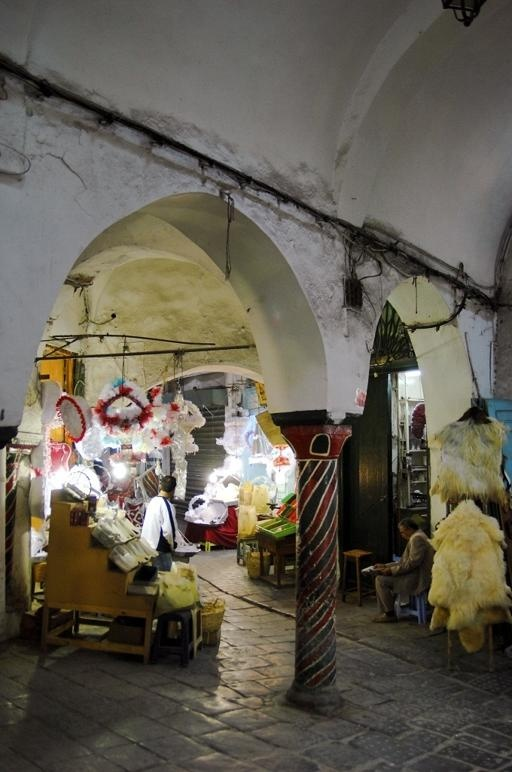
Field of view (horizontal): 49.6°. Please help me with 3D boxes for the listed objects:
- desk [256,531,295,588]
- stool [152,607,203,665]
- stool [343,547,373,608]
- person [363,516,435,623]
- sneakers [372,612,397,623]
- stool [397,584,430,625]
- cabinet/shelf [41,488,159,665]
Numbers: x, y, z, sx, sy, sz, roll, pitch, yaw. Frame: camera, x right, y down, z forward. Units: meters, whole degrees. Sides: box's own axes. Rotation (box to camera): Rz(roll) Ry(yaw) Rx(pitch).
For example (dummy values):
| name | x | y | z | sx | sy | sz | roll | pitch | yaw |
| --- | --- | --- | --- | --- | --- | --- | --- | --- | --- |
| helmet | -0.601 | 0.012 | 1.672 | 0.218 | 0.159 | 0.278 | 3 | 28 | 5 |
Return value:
| name | x | y | z | sx | sy | sz | roll | pitch | yaw |
| --- | --- | --- | --- | --- | --- | --- | --- | --- | --- |
| desk | 0.315 | 2.812 | 9.000 | 0.891 | 0.798 | 0.579 | 4 | -10 | -22 |
| stool | -0.711 | 2.318 | 5.369 | 0.299 | 0.282 | 0.338 | 2 | -3 | 14 |
| stool | 1.525 | 2.810 | 8.160 | 0.493 | 0.699 | 0.488 | -4 | -9 | 21 |
| person | 1.820 | 2.332 | 7.015 | 0.831 | 1.267 | 0.630 | -1 | -12 | 17 |
| sneakers | 1.619 | 2.900 | 6.970 | 0.328 | 0.139 | 0.112 | 3 | -5 | 3 |
| stool | 2.007 | 2.825 | 7.065 | 0.462 | 0.411 | 0.449 | 2 | -5 | -35 |
| cabinet/shelf | -1.243 | 1.914 | 5.793 | 1.140 | 1.390 | 1.510 | 0 | -6 | 15 |
